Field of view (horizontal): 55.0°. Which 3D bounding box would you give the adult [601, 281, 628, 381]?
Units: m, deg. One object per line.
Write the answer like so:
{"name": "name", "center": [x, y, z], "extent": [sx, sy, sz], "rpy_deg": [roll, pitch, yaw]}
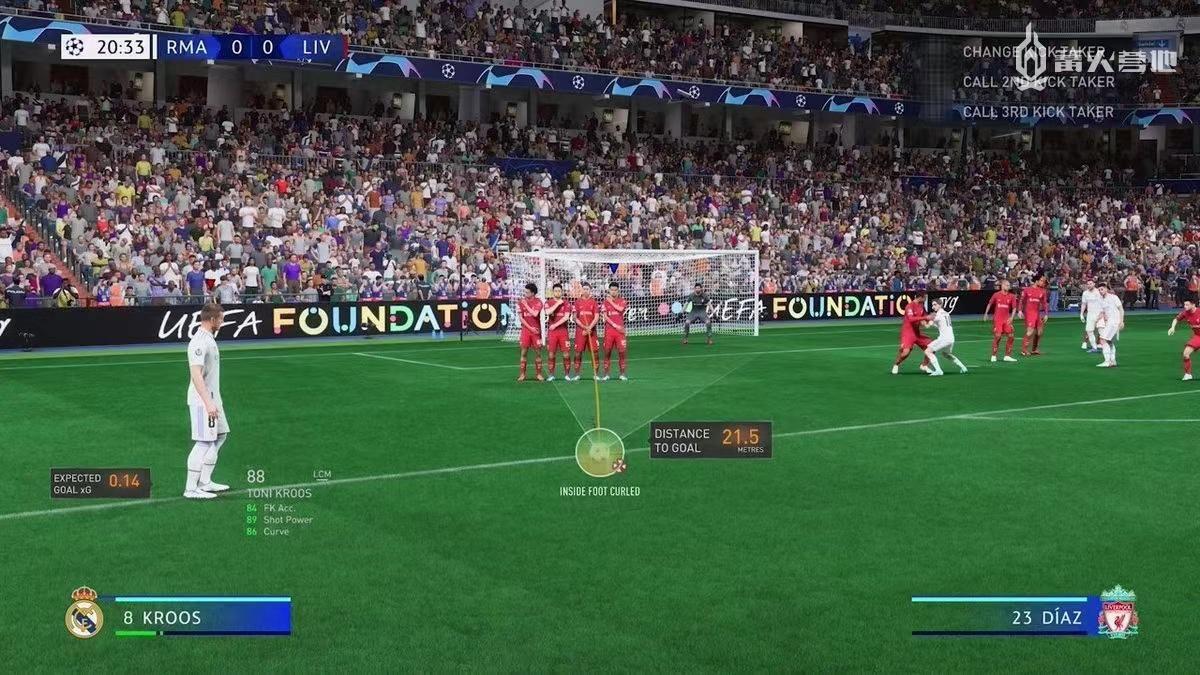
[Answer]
{"name": "adult", "center": [0.369, -0.193, 33.018], "extent": [0.777, 2.686, 1.780], "rpy_deg": [-3, 7, -1]}
